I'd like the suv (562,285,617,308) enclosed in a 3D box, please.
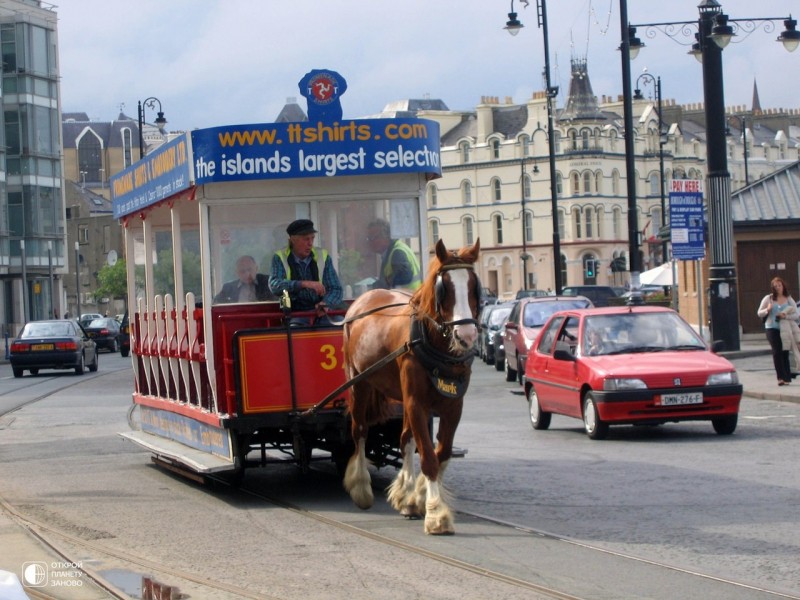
[{"bbox_3d":[7.278,-0.185,52.300,1.081,1.022,1.967,0,-5,-13],"label":"suv"}]

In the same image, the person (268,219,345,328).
[{"bbox_3d":[-1.127,-0.113,16.244,0.778,1.739,0.830,5,17,21],"label":"person"}]

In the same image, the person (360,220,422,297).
[{"bbox_3d":[-0.118,-0.500,16.912,0.456,1.039,0.553,0,7,34],"label":"person"}]

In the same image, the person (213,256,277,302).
[{"bbox_3d":[-1.909,-0.462,16.764,0.869,0.650,0.484,0,-3,-11],"label":"person"}]

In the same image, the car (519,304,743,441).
[{"bbox_3d":[3.554,1.124,21.709,2.256,2.001,4.369,-2,-1,-12],"label":"car"}]

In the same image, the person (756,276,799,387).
[{"bbox_3d":[7.157,0.557,26.005,0.665,2.047,0.798,2,8,6],"label":"person"}]

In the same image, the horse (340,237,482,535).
[{"bbox_3d":[0.129,0.981,15.184,0.994,2.953,3.783,1,-4,-18],"label":"horse"}]
